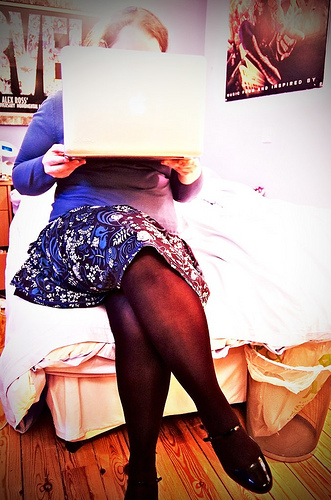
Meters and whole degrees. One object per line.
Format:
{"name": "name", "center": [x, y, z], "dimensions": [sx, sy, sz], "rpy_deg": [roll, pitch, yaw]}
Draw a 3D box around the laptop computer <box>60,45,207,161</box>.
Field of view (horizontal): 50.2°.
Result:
{"name": "laptop computer", "center": [-0.077, -0.313, 0.738], "dimensions": [0.275, 0.184, 0.193], "rpy_deg": [-5, 29, -17]}
